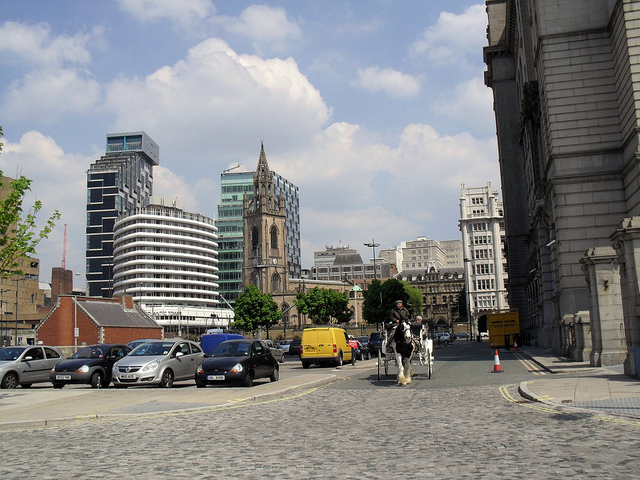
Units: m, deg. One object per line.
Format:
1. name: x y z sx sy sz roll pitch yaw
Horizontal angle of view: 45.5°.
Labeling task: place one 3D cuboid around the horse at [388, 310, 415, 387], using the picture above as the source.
1. horse: 2.924 3.856 27.091 0.862 2.657 1.545 -3 -8 8

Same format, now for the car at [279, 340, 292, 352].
1. car: -2.898 8.661 63.035 1.215 0.943 1.998 0 -10 -3

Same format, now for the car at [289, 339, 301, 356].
1. car: -1.930 8.412 59.433 0.836 1.171 2.361 -2 -8 2

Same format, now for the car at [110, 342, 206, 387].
1. car: -6.283 4.960 30.617 2.423 1.747 4.814 -1 -7 18

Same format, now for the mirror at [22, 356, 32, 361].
1. mirror: -12.207 4.956 31.903 0.130 0.130 0.417 -4 -9 16

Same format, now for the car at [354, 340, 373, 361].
1. car: 2.611 7.066 47.820 0.924 0.699 1.914 -2 -12 14

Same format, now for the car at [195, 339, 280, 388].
1. car: -3.197 4.791 29.659 1.943 1.822 3.341 -5 -9 23
